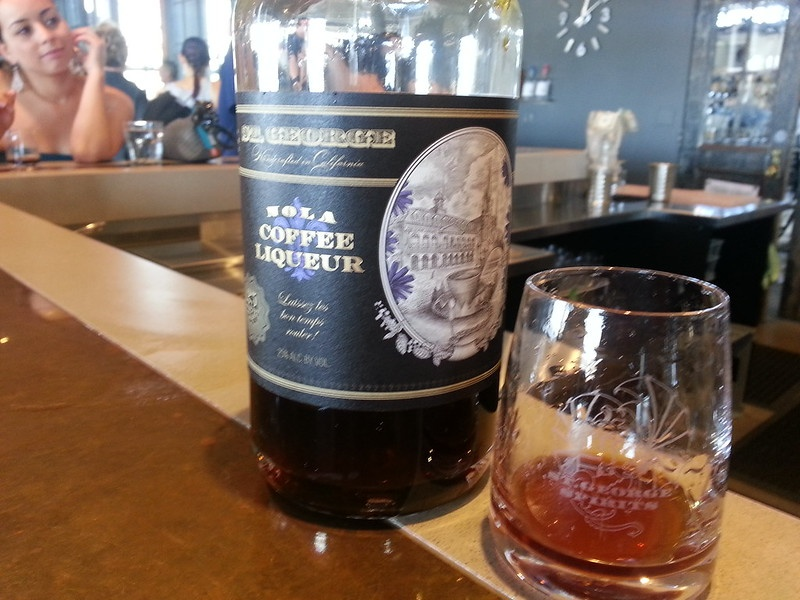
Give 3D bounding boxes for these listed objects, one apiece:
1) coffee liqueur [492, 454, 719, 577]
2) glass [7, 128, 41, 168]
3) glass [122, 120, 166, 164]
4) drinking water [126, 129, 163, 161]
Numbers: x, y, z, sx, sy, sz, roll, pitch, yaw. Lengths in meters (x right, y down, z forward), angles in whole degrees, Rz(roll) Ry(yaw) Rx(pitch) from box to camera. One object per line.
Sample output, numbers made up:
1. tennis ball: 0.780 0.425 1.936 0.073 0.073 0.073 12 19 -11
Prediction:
1. coffee liqueur: 0.096 0.097 0.288 0.093 0.076 0.021 5 4 18
2. glass: -1.026 -0.417 1.650 0.072 0.083 0.100 -9 22 -27
3. glass: -0.747 -0.453 1.811 0.099 0.091 0.098 5 8 44
4. drinking water: -0.743 -0.453 1.773 0.122 0.094 0.097 -2 13 -14
